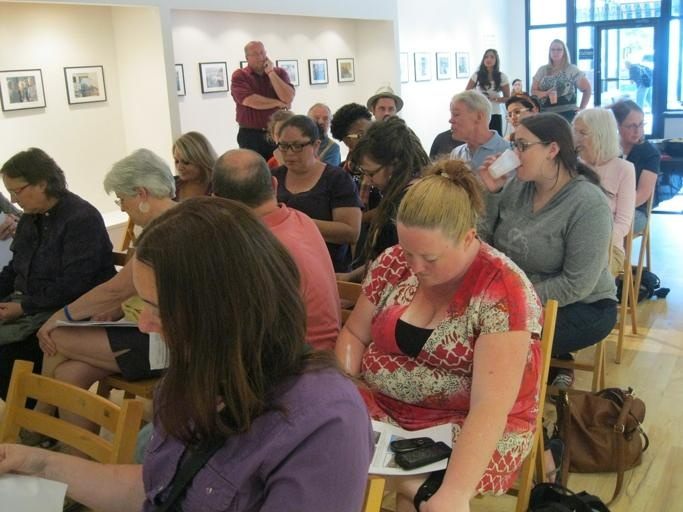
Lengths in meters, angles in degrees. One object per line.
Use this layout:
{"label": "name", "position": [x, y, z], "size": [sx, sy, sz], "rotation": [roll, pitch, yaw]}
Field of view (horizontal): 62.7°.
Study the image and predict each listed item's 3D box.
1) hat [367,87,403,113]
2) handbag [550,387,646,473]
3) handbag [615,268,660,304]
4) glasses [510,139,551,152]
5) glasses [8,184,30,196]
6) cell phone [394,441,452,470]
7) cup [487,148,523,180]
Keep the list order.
{"label": "hat", "position": [0.408, -1.635, 5.534], "size": [0.340, 0.157, 0.355], "rotation": [-1, -9, 0]}
{"label": "handbag", "position": [1.299, 0.875, 2.868], "size": [0.430, 0.414, 0.273], "rotation": [-8, 11, 4]}
{"label": "handbag", "position": [2.299, 0.239, 4.348], "size": [0.341, 0.148, 0.256], "rotation": [-1, 15, 15]}
{"label": "glasses", "position": [0.915, -0.541, 2.723], "size": [0.173, 0.054, 0.057], "rotation": [8, 17, 38]}
{"label": "glasses", "position": [-1.858, -0.379, 3.195], "size": [0.076, 0.027, 0.081], "rotation": [6, 36, 27]}
{"label": "cell phone", "position": [0.255, 0.622, 1.763], "size": [0.154, 0.028, 0.071], "rotation": [-8, 24, -21]}
{"label": "cup", "position": [0.811, -0.461, 2.781], "size": [0.148, 0.131, 0.135], "rotation": [-40, 14, 12]}
